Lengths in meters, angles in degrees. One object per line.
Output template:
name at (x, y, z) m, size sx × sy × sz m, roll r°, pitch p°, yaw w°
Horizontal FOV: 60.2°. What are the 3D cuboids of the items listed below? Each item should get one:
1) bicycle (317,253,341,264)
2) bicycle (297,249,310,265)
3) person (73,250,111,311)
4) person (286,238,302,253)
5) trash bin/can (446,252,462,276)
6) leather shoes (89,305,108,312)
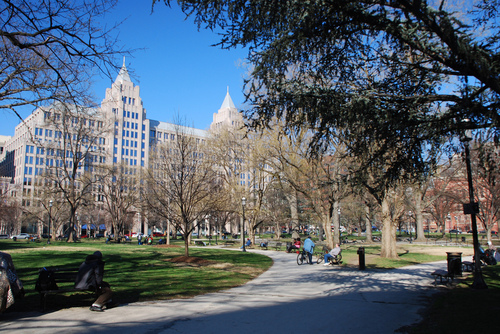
bicycle at (4.694, 5.558, 25.906) m, size 0.736 × 0.848 × 1.485 m, roll 10°, pitch -16°, yaw -40°
bicycle at (3.157, 5.540, 26.002) m, size 0.606 × 0.698 × 1.228 m, roll -9°, pitch -19°, yaw 30°
person at (-5.052, 3.701, 13.991) m, size 1.109 × 1.875 × 0.555 m, roll 3°, pitch -4°, yaw -13°
person at (3.472, 6.237, 34.027) m, size 0.976 × 1.174 × 3.373 m, roll 2°, pitch -5°, yaw 5°
trash bin/can at (9.994, 4.777, 21.157) m, size 0.836 × 1.158 × 0.853 m, roll 1°, pitch -24°, yaw 17°
leather shoes at (-4.840, 4.559, 13.882) m, size 0.543 × 0.224 × 0.183 m, roll 6°, pitch -4°, yaw -1°
